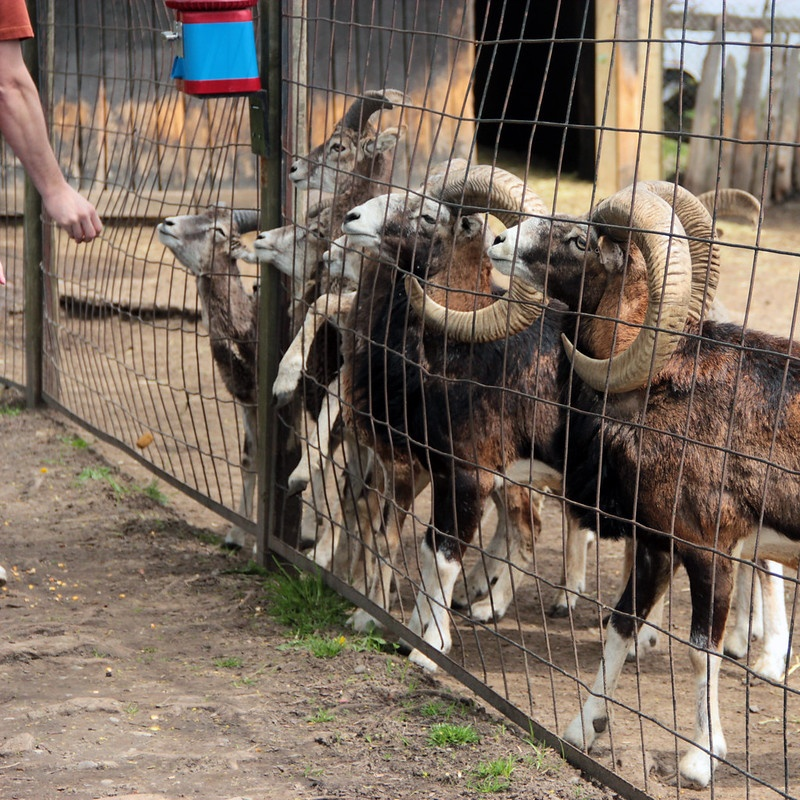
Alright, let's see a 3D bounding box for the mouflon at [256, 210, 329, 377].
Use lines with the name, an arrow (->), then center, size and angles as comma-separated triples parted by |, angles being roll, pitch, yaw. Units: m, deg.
mouflon -> -0.499, -0.563, 6.744 | 0.328, 0.577, 1.315 | 3, 14, -3
